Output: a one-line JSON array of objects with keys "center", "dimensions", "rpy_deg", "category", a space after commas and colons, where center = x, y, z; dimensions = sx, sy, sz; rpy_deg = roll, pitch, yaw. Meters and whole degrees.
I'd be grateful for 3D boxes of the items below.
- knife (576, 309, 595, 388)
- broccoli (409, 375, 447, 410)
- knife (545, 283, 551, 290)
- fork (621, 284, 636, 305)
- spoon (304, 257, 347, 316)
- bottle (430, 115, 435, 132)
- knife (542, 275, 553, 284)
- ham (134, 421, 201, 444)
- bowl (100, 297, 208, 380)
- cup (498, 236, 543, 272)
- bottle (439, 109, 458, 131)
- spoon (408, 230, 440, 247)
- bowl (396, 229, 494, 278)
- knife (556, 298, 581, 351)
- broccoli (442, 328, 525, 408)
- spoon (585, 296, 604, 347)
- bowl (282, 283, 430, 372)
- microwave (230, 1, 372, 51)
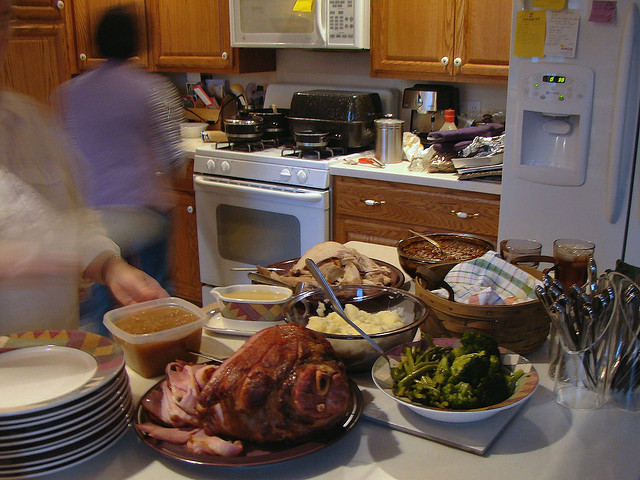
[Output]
[{"center": [0.438, 0.187, 0.803], "dimensions": [0.026, 0.117, 0.030], "rpy_deg": [-6, 15, -4], "category": "knife"}, {"center": [0.176, 0.245, 0.754], "dimensions": [0.046, 0.014, 0.040], "rpy_deg": [14, 61, 18], "category": "broccoli"}, {"center": [0.397, 0.080, 0.824], "dimensions": [0.005, 0.012, 0.010], "rpy_deg": [4, -6, -41], "category": "knife"}, {"center": [0.509, 0.090, 0.785], "dimensions": [0.007, 0.023, 0.014], "rpy_deg": [18, 19, -25], "category": "fork"}, {"center": [0.014, 0.105, 1.037], "dimensions": [0.022, 0.143, 0.017], "rpy_deg": [-25, 20, 47], "category": "spoon"}, {"center": [0.692, -0.717, 2.912], "dimensions": [0.027, 0.097, 0.018], "rpy_deg": [4, 21, 20], "category": "bottle"}, {"center": [0.408, 0.071, 0.846], "dimensions": [0.015, 0.006, 0.019], "rpy_deg": [1, 8, 3], "category": "knife"}, {"center": [-0.229, 0.293, 0.725], "dimensions": [0.100, 0.033, 0.022], "rpy_deg": [5, -14, 3], "category": "ham"}, {"center": [-0.324, 0.154, 0.941], "dimensions": [0.180, 0.098, 0.175], "rpy_deg": [2, 16, -1], "category": "bowl"}, {"center": [0.488, 0.032, 1.137], "dimensions": [0.090, 0.064, 0.096], "rpy_deg": [-2, 5, 0], "category": "cup"}, {"center": [0.748, -0.696, 2.746], "dimensions": [0.074, 0.110, 0.195], "rpy_deg": [2, 18, 14], "category": "bottle"}, {"center": [0.346, -0.005, 1.558], "dimensions": [0.019, 0.014, 0.128], "rpy_deg": [10, 21, -46], "category": "spoon"}, {"center": [0.320, 0.047, 1.291], "dimensions": [0.231, 0.093, 0.250], "rpy_deg": [-2, 17, 1], "category": "bowl"}, {"center": [0.424, 0.140, 0.804], "dimensions": [0.029, 0.099, 0.020], "rpy_deg": [-29, 16, -13], "category": "knife"}, {"center": [0.269, 0.219, 0.782], "dimensions": [0.108, 0.038, 0.124], "rpy_deg": [-2, 54, 26], "category": "broccoli"}, {"center": [0.445, 0.130, 0.788], "dimensions": [0.019, 0.072, 0.023], "rpy_deg": [5, 14, -11], "category": "spoon"}, {"center": [0.078, 0.156, 0.952], "dimensions": [0.219, 0.074, 0.203], "rpy_deg": [0, 21, 0], "category": "bowl"}, {"center": [-0.134, -1.338, 2.947], "dimensions": [0.924, 0.340, 0.176], "rpy_deg": [8, 22, 30], "category": "microwave"}]
